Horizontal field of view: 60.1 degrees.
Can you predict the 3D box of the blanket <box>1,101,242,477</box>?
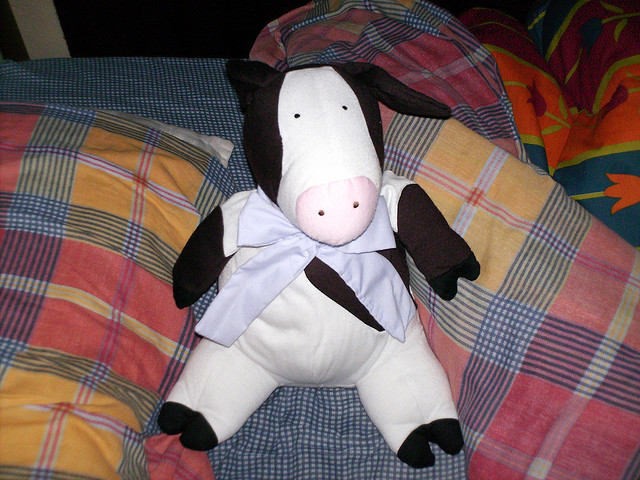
[{"bbox_3d":[-0.477,0.144,1.288,0.462,0.595,0.737,-9,42,-9],"label":"blanket"}]
